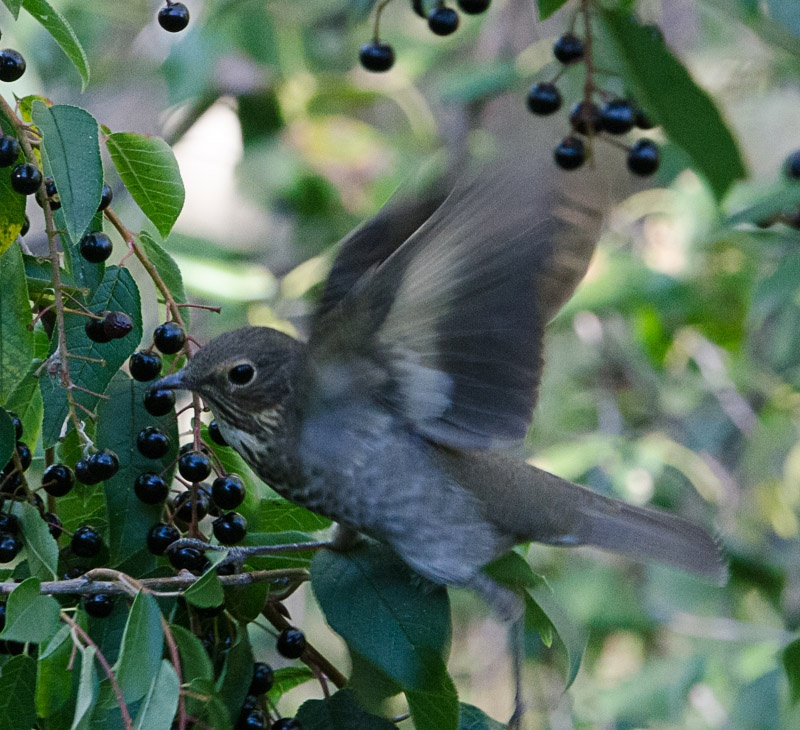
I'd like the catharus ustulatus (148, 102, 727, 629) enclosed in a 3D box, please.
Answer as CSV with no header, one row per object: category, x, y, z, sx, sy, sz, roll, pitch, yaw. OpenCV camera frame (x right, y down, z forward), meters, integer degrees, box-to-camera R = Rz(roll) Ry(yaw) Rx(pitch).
catharus ustulatus,0.037,0.037,1.455,0.533,0.438,0.617,3,106,8
